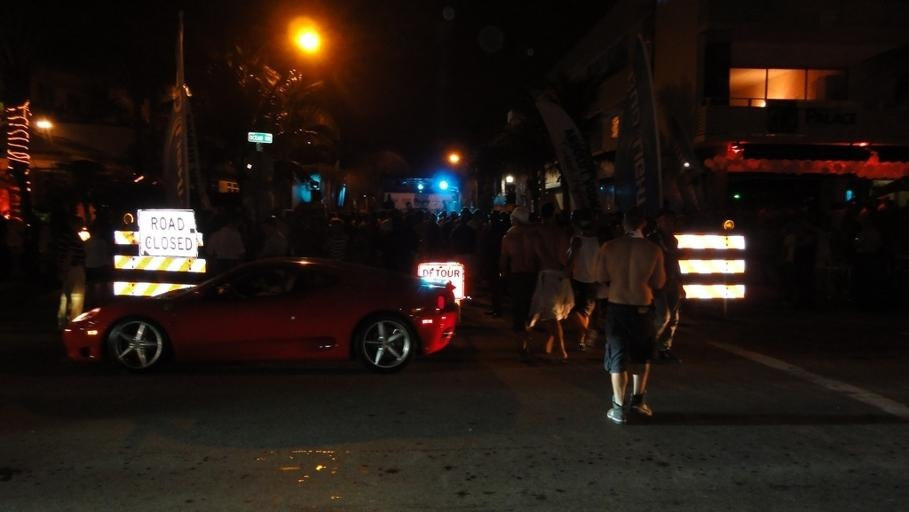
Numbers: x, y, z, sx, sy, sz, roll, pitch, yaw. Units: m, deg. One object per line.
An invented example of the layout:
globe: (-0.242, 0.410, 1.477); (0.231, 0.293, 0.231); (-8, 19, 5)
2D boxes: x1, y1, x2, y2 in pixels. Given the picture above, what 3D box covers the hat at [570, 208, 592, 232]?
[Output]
hat: (2.739, -0.800, 14.164); (0.519, 0.458, 0.441); (-5, -10, 0)
